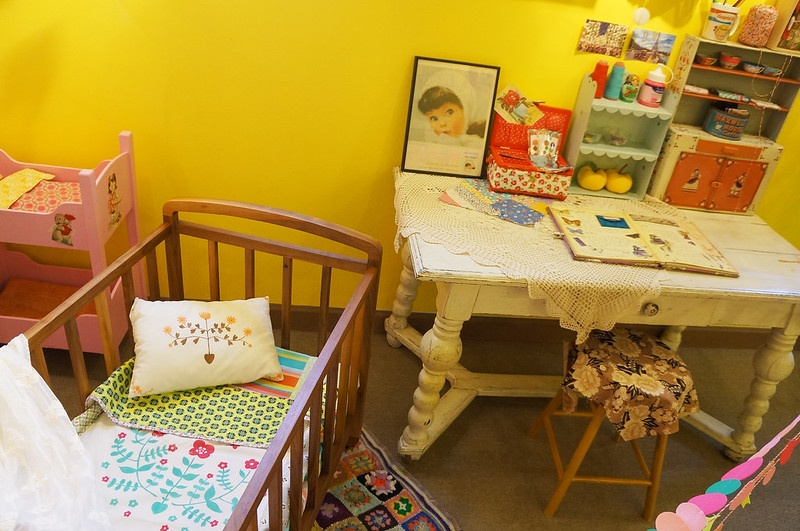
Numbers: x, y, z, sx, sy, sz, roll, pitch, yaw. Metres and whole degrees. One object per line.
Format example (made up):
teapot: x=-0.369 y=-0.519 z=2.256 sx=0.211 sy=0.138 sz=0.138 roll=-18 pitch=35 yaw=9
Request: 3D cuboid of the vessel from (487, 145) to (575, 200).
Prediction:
vessel: x=0.590 y=-0.426 z=2.708 sx=0.333 sy=0.129 sz=0.236 roll=4 pitch=44 yaw=-1

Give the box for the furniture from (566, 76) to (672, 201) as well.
furniture: x=1.025 y=-0.615 z=2.740 sx=0.435 sy=0.582 sz=0.310 roll=9 pitch=33 yaw=-4

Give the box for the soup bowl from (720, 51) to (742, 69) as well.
soup bowl: x=1.500 y=-0.940 z=2.666 sx=0.087 sy=0.055 sz=0.087 roll=4 pitch=30 yaw=-2

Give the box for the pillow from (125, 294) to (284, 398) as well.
pillow: x=-0.769 y=0.326 z=2.264 sx=0.403 sy=0.140 sz=0.263 roll=-3 pitch=51 yaw=-19

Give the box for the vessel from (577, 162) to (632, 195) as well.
vessel: x=0.970 y=-0.414 z=2.821 sx=0.225 sy=0.136 sz=0.136 roll=6 pitch=29 yaw=2

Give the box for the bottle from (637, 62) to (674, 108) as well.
bottle: x=1.179 y=-0.845 z=2.711 sx=0.115 sy=0.192 sz=0.163 roll=16 pitch=25 yaw=21

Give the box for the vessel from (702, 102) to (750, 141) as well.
vessel: x=1.536 y=-0.691 z=2.758 sx=0.172 sy=0.159 sz=0.157 roll=12 pitch=24 yaw=13
